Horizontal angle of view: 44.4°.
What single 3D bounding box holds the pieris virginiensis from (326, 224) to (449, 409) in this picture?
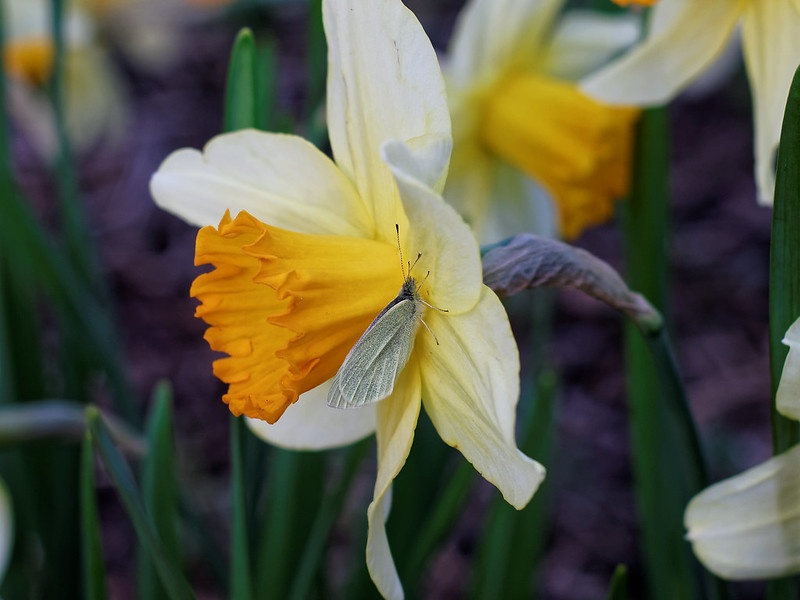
[{"bbox_3d":[-0.022,0.020,1.381,0.222,0.159,0.128,-42,58,18],"label":"pieris virginiensis"}]
